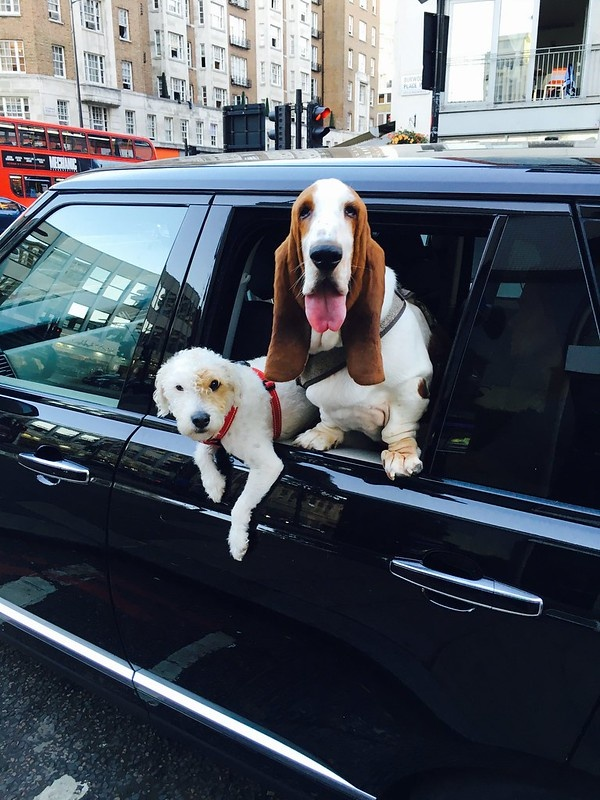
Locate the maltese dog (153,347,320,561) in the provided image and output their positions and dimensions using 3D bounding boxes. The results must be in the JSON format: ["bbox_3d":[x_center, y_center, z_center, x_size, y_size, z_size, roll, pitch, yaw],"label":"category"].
[{"bbox_3d":[-0.115,-0.008,1.449,0.269,0.452,0.742,6,16,20],"label":"maltese dog"}]

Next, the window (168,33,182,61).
[{"bbox_3d":[-9.454,-26.839,42.596,0.194,1.665,1.650,11,25,25],"label":"window"}]

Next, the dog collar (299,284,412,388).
[{"bbox_3d":[0.124,-0.142,1.306,0.195,0.250,0.093,0,-17,40],"label":"dog collar"}]
